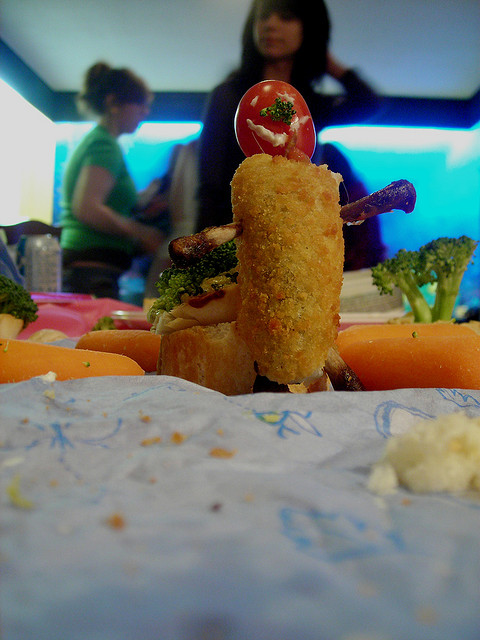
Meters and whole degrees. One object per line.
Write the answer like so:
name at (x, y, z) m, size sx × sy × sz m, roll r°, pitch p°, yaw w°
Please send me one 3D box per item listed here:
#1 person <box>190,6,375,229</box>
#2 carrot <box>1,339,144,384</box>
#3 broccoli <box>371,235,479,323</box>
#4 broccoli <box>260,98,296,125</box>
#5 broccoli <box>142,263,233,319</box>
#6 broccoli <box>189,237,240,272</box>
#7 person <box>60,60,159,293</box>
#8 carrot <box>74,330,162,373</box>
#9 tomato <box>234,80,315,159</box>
person at (0.316, -1.467, 4.843) m, size 1.381 × 1.568 × 0.661 m, roll -5°, pitch 12°, yaw -33°
carrot at (-0.216, 0.075, 0.934) m, size 0.233 × 0.048 × 0.061 m, roll 11°, pitch 3°, yaw -29°
broccoli at (0.403, -0.090, 1.397) m, size 0.171 × 0.183 × 0.182 m, roll -7°, pitch 13°, yaw -41°
broccoli at (0.055, -0.285, 0.888) m, size 0.038 × 0.039 × 0.017 m, roll 48°, pitch 3°, yaw 14°
broccoli at (-0.073, -0.043, 0.960) m, size 0.119 × 0.091 × 0.166 m, roll 0°, pitch 9°, yaw -9°
broccoli at (-0.034, -0.093, 0.939) m, size 0.066 × 0.042 × 0.026 m, roll 0°, pitch 10°, yaw -7°
person at (-0.987, -1.116, 4.959) m, size 0.706 × 1.803 × 0.864 m, roll -1°, pitch 11°, yaw -10°
carrot at (-0.255, 0.052, 1.289) m, size 0.207 × 0.064 × 0.087 m, roll 2°, pitch 26°, yaw 28°
tomato at (0.040, -0.287, 0.914) m, size 0.123 × 0.126 × 0.109 m, roll -5°, pitch -5°, yaw -8°
